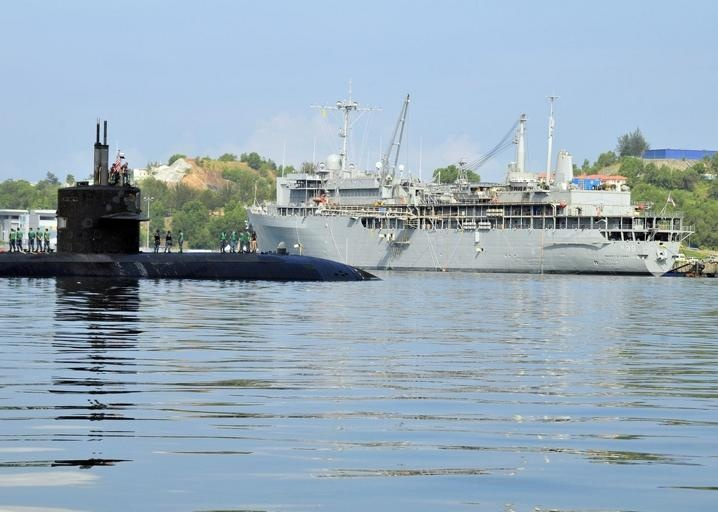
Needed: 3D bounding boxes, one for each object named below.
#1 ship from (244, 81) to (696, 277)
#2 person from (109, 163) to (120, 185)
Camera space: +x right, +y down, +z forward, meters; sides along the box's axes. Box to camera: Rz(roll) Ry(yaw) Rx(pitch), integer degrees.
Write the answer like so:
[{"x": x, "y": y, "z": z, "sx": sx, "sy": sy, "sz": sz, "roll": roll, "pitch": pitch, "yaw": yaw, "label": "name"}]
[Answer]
[{"x": 6.731, "y": -4.233, "z": 87.751, "sx": 31.682, "sy": 9.790, "sz": 8.065, "roll": 3, "pitch": 0, "yaw": 43, "label": "ship"}, {"x": -8.406, "y": -2.847, "z": 52.035, "sx": 0.220, "sy": 0.726, "sz": 0.508, "roll": 2, "pitch": 0, "yaw": 34, "label": "person"}]
